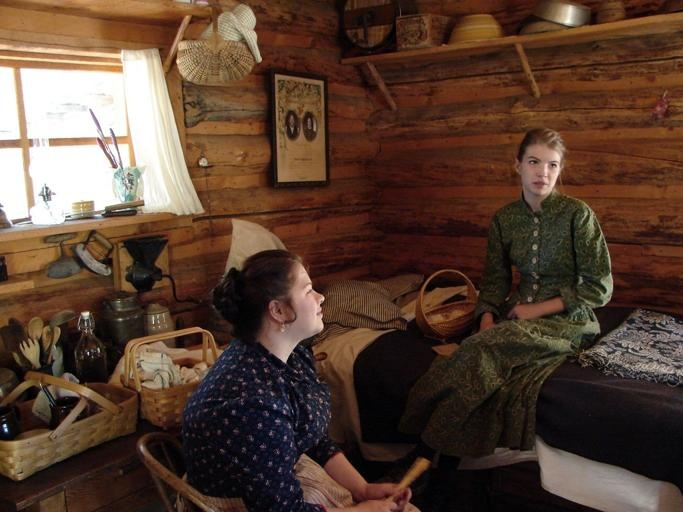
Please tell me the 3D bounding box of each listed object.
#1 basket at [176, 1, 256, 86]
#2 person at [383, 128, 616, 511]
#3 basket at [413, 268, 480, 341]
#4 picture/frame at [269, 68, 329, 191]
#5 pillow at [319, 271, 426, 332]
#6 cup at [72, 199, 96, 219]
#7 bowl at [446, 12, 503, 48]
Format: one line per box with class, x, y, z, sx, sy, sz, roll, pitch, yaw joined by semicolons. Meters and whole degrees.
basket;-0.622;-1.048;2.575;0.381;0.349;0.173;-5;11;13
person;0.734;0.273;2.404;0.900;1.685;0.596;-17;13;-37
basket;0.613;0.283;3.028;0.436;0.304;0.229;-15;13;-42
picture/frame;-0.266;-0.825;3.437;0.086;0.712;0.560;0;12;41
pillow;0.142;0.270;3.017;0.485;0.069;0.388;0;25;6
cup;-1.245;-0.229;2.533;0.115;0.054;0.093;-1;0;-13
bowl;0.831;-1.387;3.198;0.358;0.116;0.287;-1;27;18
